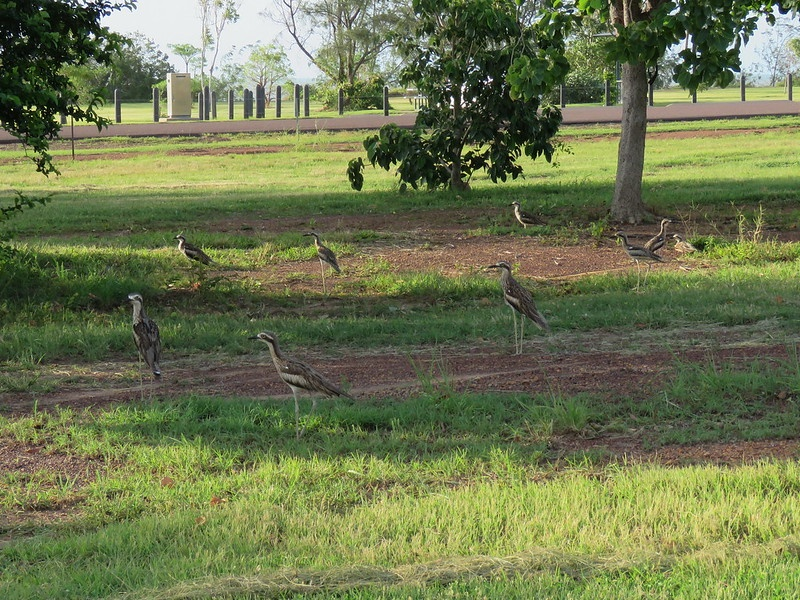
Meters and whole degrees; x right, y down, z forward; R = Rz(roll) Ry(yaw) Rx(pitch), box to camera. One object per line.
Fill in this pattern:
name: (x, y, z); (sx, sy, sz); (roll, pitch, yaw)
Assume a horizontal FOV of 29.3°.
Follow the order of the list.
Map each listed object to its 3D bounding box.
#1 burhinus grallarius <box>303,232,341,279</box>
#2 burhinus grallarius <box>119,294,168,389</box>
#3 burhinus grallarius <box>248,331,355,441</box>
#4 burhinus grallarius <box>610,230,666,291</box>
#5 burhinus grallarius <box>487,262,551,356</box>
burhinus grallarius: (-1.620, -1.092, 33.842); (0.593, 0.854, 2.615); (-2, 7, -3)
burhinus grallarius: (-4.580, 0.646, 27.383); (0.753, 1.429, 0.709); (-2, 11, -24)
burhinus grallarius: (-1.734, 1.356, 26.377); (1.370, 1.715, 1.608); (-3, 7, -13)
burhinus grallarius: (5.089, -0.863, 32.365); (1.079, 1.341, 0.468); (-4, 10, -8)
burhinus grallarius: (2.240, 0.132, 28.910); (1.258, 1.773, 0.424); (4, 10, 34)
